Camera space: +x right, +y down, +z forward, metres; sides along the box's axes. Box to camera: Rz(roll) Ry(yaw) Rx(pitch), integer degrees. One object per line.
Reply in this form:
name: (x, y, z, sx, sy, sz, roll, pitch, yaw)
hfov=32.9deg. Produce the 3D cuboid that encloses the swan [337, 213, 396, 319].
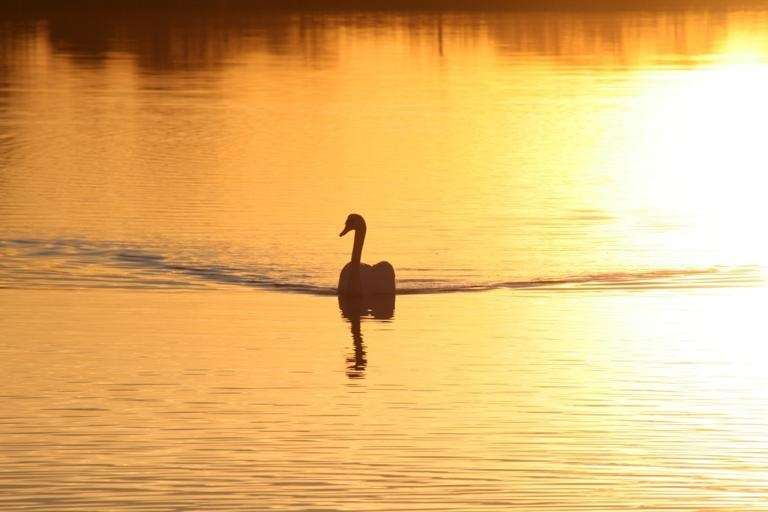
swan: (-0.252, 0.125, 20.084, 0.955, 1.404, 2.093, 6, 6, -2)
